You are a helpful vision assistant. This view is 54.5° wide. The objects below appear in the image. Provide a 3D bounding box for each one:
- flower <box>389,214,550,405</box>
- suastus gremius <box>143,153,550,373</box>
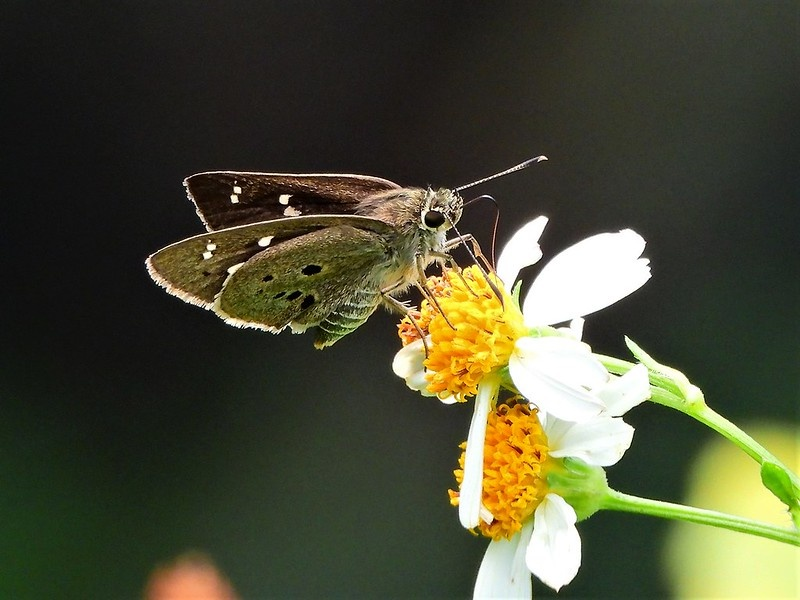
[{"bbox_3d":[0.162,-0.027,1.988,0.464,0.303,0.525,-3,103,0],"label":"flower"},{"bbox_3d":[-0.202,-0.157,2.340,1.084,0.613,0.459,-13,82,3],"label":"suastus gremius"}]
